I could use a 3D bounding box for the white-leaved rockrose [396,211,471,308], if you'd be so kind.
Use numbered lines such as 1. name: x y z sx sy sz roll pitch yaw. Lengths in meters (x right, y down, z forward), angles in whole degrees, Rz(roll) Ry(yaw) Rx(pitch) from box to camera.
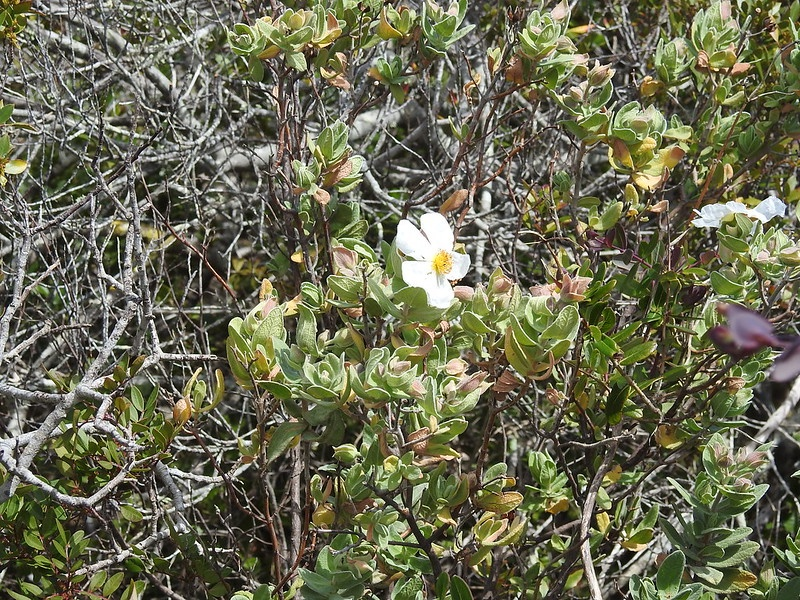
1. white-leaved rockrose: 0.134 -0.170 4.016 0.330 0.278 0.315 18 36 2

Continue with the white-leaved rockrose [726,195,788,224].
1. white-leaved rockrose: 1.662 -0.407 4.264 0.178 0.055 0.160 -36 20 -31
